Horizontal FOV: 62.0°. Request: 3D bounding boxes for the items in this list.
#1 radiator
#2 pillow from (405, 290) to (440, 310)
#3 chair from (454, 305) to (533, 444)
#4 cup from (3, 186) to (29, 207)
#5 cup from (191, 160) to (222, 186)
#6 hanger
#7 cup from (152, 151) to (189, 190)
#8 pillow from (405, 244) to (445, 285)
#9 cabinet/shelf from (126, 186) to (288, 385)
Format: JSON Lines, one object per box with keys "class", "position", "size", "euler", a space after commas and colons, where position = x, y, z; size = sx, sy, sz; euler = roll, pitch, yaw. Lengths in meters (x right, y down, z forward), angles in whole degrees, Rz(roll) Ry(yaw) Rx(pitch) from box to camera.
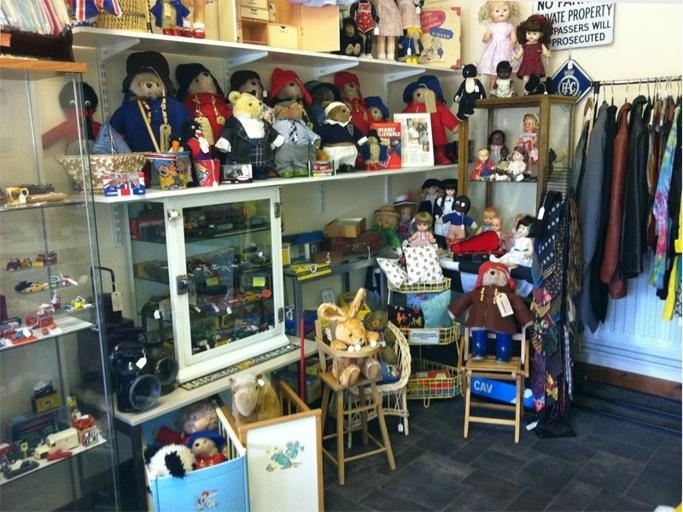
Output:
{"class": "radiator", "position": [1.951, 0.333, 3.821], "size": [0.796, 0.891, 0.056], "euler": [8, 11, 39]}
{"class": "pillow", "position": [0.527, 0.291, 3.868], "size": [0.127, 0.097, 0.130], "euler": [4, 4, 36]}
{"class": "chair", "position": [0.987, 0.773, 3.634], "size": [0.448, 0.647, 0.494], "euler": [-2, 14, 13]}
{"class": "cup", "position": [-1.385, -0.253, 2.419], "size": [0.056, 0.069, 0.097], "euler": [3, 6, 10]}
{"class": "cup", "position": [-0.717, -0.440, 3.015], "size": [0.123, 0.116, 0.139], "euler": [2, 9, 9]}
{"class": "hanger", "position": [1.919, -1.043, 3.698], "size": [0.016, 0.266, 0.416], "euler": [-2, 4, -44]}
{"class": "cup", "position": [-0.851, -0.447, 2.944], "size": [0.124, 0.183, 0.233], "euler": [1, 14, 21]}
{"class": "pillow", "position": [0.560, 0.057, 3.898], "size": [0.252, 0.241, 0.208], "euler": [-4, 13, 4]}
{"class": "cabinet/shelf", "position": [-0.760, 0.153, 3.058], "size": [0.519, 1.203, 0.956], "euler": [4, 11, 34]}
